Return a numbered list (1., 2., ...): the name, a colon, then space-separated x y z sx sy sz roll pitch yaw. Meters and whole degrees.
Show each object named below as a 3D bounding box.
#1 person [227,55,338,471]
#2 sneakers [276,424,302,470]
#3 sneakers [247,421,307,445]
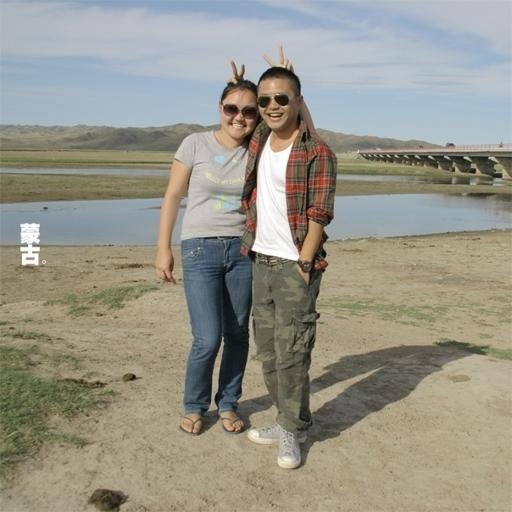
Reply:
1. person: 0.233 0.062 3.499 0.504 2.673 0.843 -1 15 -22
2. sneakers: 0.223 1.308 3.424 0.122 0.101 0.302 1 -1 3
3. sneakers: 0.161 1.282 3.785 0.487 0.152 0.149 4 23 -3
